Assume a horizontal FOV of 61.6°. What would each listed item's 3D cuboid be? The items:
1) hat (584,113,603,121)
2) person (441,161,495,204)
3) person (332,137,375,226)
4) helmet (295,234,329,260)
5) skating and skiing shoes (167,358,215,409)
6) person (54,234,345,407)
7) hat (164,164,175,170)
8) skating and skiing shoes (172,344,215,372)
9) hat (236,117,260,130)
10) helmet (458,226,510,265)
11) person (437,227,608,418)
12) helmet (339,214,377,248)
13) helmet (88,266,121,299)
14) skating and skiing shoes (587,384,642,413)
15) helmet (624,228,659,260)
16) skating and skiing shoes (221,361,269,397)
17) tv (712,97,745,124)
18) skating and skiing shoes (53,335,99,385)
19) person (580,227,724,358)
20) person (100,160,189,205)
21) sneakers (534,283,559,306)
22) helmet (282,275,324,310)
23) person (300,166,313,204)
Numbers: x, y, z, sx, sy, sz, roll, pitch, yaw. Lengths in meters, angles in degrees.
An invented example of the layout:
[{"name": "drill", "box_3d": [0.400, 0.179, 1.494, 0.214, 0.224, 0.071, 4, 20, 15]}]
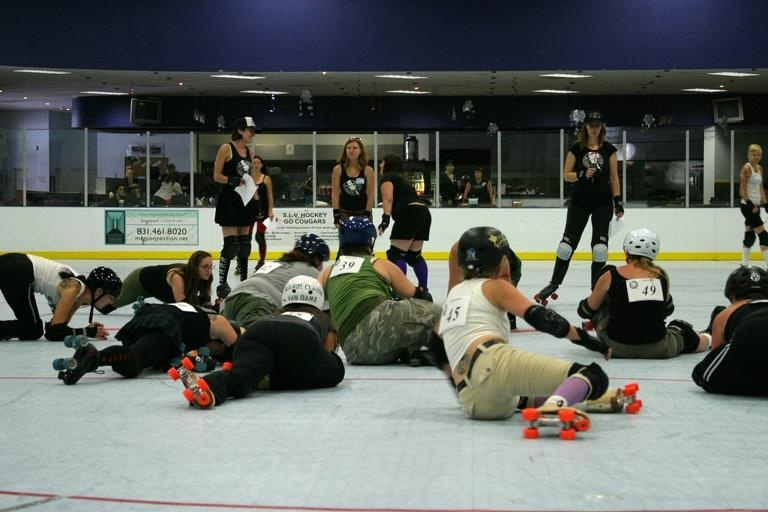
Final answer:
[{"name": "hat", "box_3d": [2.344, -1.551, 7.200, 0.177, 0.107, 0.159, 1, 5, 16]}, {"name": "person", "box_3d": [1.973, -1.705, 15.316, 1.040, 0.922, 0.354, 1, -2, -5]}, {"name": "person", "box_3d": [-0.407, -0.954, 8.287, 0.523, 1.114, 0.595, 0, 5, 0]}, {"name": "helmet", "box_3d": [-0.617, -0.088, 5.416, 0.259, 0.213, 0.201, 23, 1, 18]}, {"name": "skating and skiing shoes", "box_3d": [-1.107, 0.722, 3.715, 0.156, 0.115, 0.320, -33, 50, -25]}, {"name": "person", "box_3d": [-1.267, 0.485, 4.742, 1.889, 0.827, 0.938, -8, 18, -21]}, {"name": "hat", "box_3d": [-5.063, -2.079, 15.198, 0.158, 0.117, 0.163, 6, 5, 25]}, {"name": "skating and skiing shoes", "box_3d": [-1.262, 0.706, 4.398, 0.366, 0.186, 0.217, -4, -3, 11]}, {"name": "hat", "box_3d": [-1.695, -1.608, 7.822, 0.226, 0.165, 0.264, -1, 5, -15]}, {"name": "helmet", "box_3d": [0.542, -0.054, 3.597, 0.186, 0.183, 0.264, 0, -17, 18]}, {"name": "person", "box_3d": [0.725, 0.385, 3.521, 0.878, 1.074, 0.540, 1, 5, 17]}, {"name": "helmet", "box_3d": [-0.223, -0.202, 5.289, 0.230, 0.278, 0.285, 1, -9, -10]}, {"name": "helmet", "box_3d": [-2.385, 0.222, 5.496, 0.274, 0.234, 0.209, -4, 12, -10]}, {"name": "skating and skiing shoes", "box_3d": [1.338, 0.842, 3.749, 0.287, 0.124, 0.166, -3, 17, 13]}, {"name": "helmet", "box_3d": [1.968, -0.105, 5.004, 0.211, 0.251, 0.282, 13, 3, 1]}, {"name": "skating and skiing shoes", "box_3d": [-0.846, 0.764, 3.923, 0.199, 0.128, 0.327, -6, -16, -5]}, {"name": "tv", "box_3d": [9.775, -4.138, 18.203, 0.942, 0.807, 0.521, 0, 2, 23]}, {"name": "skating and skiing shoes", "box_3d": [-1.998, 0.608, 4.129, 0.269, 0.096, 0.186, -46, 6, -19]}, {"name": "person", "box_3d": [2.143, 0.266, 5.180, 1.003, 0.806, 1.019, 2, 5, 24]}, {"name": "person", "box_3d": [-5.639, -1.751, 15.209, 1.972, 1.152, 0.274, 0, 5, 2]}, {"name": "sneakers", "box_3d": [1.868, 0.445, 7.375, 0.288, 0.177, 0.120, -37, -52, 24]}, {"name": "helmet", "box_3d": [-0.523, 0.231, 4.152, 0.191, 0.208, 0.260, 2, 3, 5]}, {"name": "person", "box_3d": [-1.833, -1.668, 15.318, 0.277, 0.929, 0.195, 0, 5, 0]}]
